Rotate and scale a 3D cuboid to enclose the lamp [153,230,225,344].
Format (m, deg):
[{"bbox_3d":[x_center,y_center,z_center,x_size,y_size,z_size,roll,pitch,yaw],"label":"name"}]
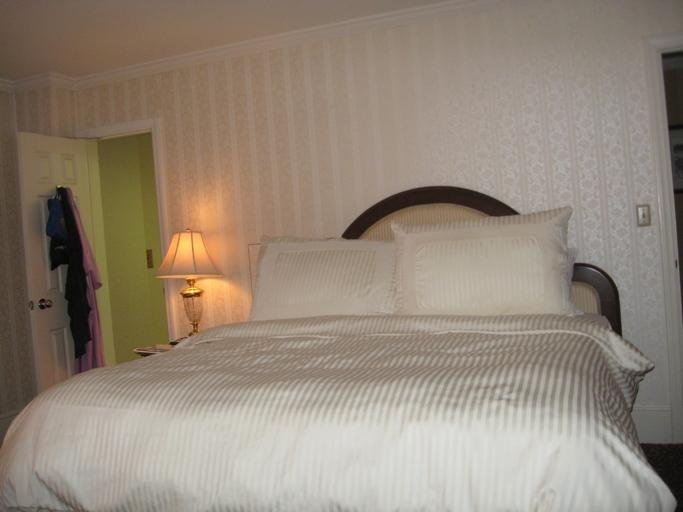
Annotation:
[{"bbox_3d":[-1.123,0.205,4.152,0.477,0.743,0.474,-6,6,-35],"label":"lamp"}]
